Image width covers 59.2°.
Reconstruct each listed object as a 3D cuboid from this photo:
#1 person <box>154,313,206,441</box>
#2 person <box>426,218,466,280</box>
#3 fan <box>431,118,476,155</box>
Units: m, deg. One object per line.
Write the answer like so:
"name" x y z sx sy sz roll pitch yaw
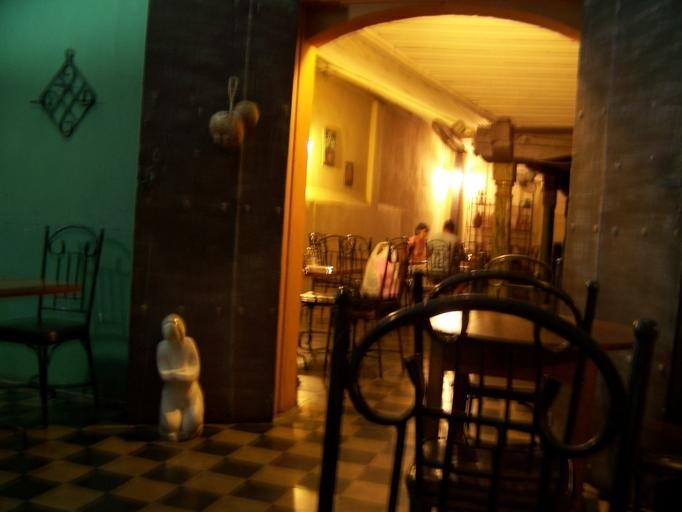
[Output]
"person" -1.052 0.773 3.886 0.320 0.775 0.215 2 5 -6
"person" 1.552 -0.155 8.834 0.581 0.936 0.610 0 23 -16
"fan" 2.333 -2.524 12.616 0.944 0.263 0.939 41 -10 -25
